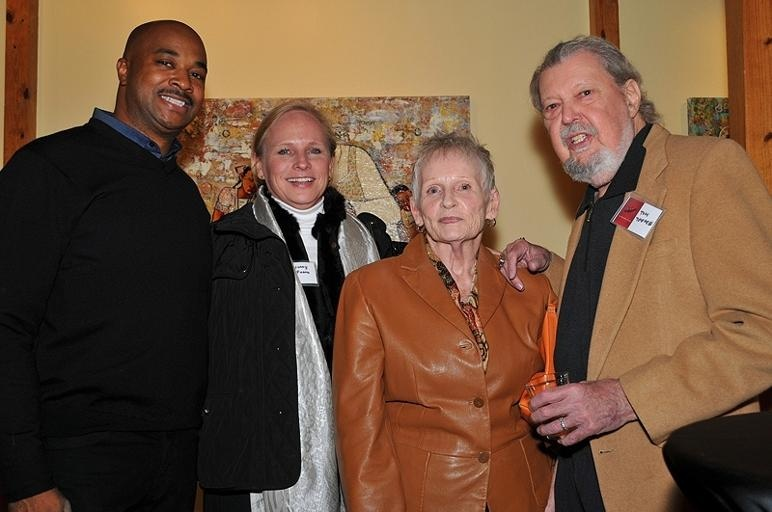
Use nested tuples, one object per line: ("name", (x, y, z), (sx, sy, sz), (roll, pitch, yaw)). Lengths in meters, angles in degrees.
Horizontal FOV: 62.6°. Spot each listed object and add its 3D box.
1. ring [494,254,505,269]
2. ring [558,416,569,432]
("ring", (0.580, 0.029, 3.202), (0.046, 0.064, 0.024), (-5, -14, 39))
("ring", (0.734, 0.700, 2.634), (0.018, 0.051, 0.038), (-18, 7, 7))
